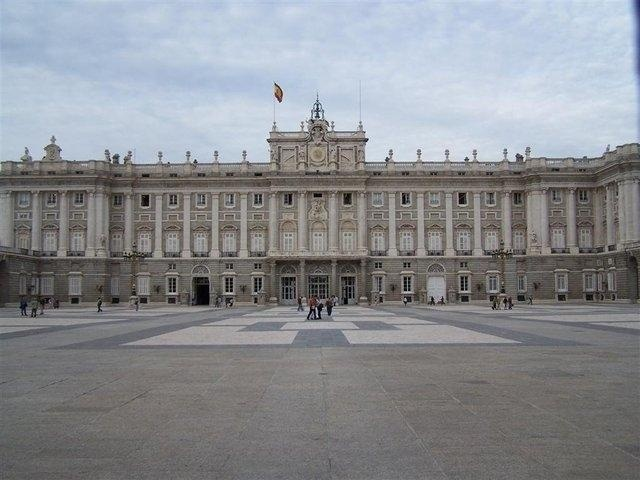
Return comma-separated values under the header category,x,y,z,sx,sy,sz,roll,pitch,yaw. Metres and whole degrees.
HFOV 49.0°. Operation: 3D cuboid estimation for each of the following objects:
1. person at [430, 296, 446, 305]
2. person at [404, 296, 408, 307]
category,x,y,z,sx,sy,sz,roll,pitch,yaw
person,13.138,6.761,77.832,1.651,1.039,0.850,-1,1,16
person,9.507,6.677,77.880,0.522,0.797,0.769,0,1,3
